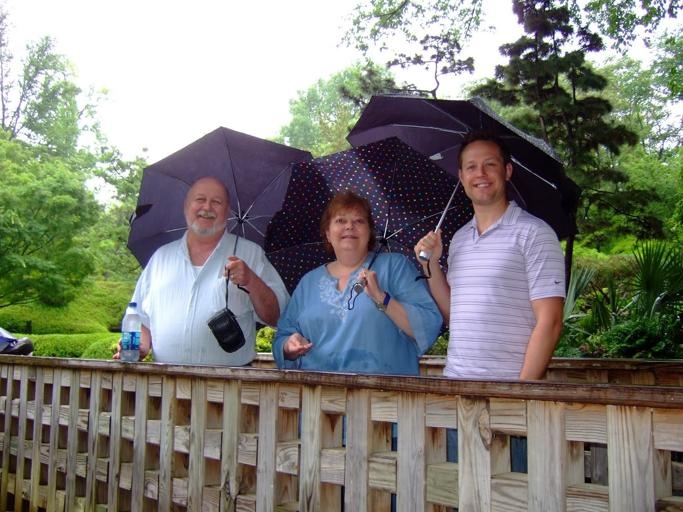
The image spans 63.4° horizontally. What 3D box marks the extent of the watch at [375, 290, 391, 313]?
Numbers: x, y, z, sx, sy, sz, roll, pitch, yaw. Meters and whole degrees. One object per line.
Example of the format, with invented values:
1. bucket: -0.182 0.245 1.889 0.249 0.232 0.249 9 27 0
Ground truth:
1. watch: 0.218 0.236 2.837 0.061 0.097 0.088 33 -44 -1

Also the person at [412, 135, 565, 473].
1. person: 0.754 0.182 2.803 0.710 1.696 0.427 -2 -12 23

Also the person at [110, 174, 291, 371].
1. person: -0.913 0.212 3.497 1.000 1.480 0.865 -3 -8 10

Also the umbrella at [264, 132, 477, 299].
1. umbrella: 0.232 -0.092 3.701 0.979 1.062 0.365 -3 -13 23
